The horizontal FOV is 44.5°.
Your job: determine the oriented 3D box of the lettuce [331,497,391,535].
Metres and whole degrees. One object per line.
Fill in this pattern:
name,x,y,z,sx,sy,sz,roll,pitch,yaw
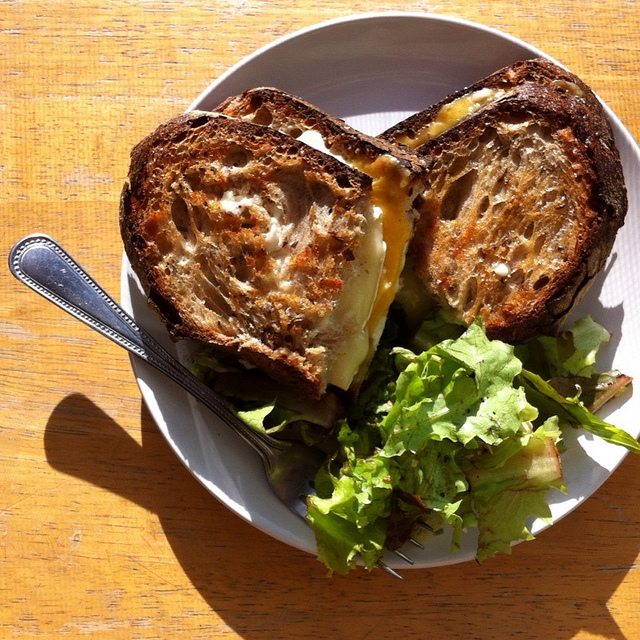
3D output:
lettuce,0.113,0.574,2.282,0.159,0.047,0.107,3,69,-5
